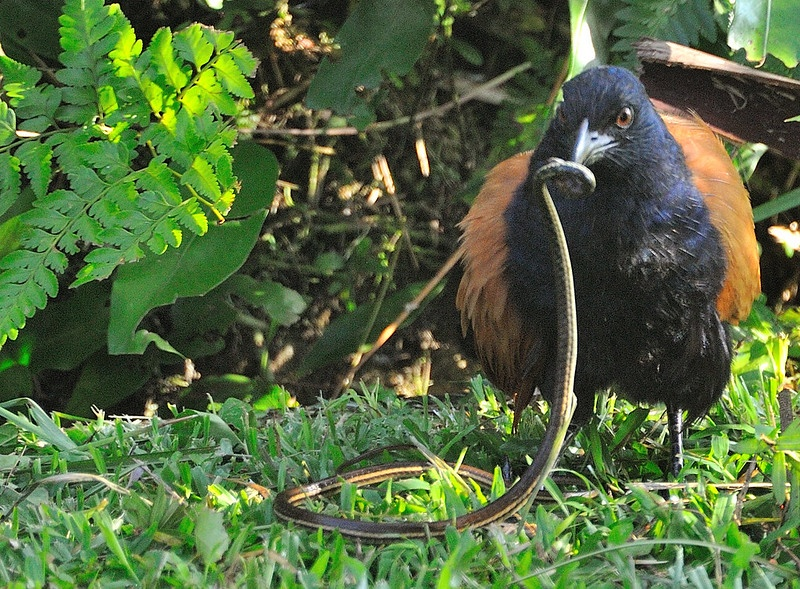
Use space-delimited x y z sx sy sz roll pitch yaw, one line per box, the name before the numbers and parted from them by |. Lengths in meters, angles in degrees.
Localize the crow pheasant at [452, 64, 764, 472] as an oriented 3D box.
crow pheasant | 0.406 -0.034 2.316 0.661 0.828 0.960 1 -15 1
